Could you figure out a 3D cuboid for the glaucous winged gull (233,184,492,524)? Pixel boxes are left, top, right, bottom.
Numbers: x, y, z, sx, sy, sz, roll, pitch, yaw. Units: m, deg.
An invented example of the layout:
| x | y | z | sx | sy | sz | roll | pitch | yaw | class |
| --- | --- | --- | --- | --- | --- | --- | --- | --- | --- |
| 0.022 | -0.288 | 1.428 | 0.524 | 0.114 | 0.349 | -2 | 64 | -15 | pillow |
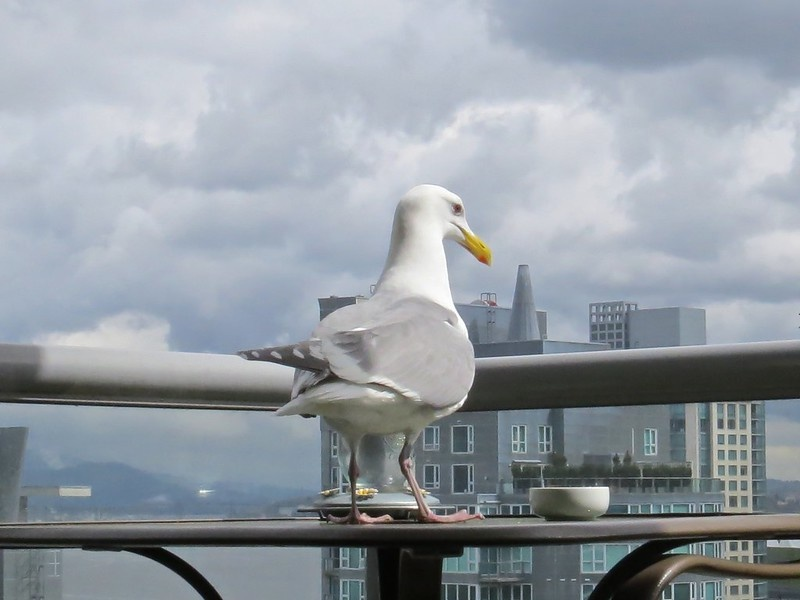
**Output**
| x | y | z | sx | sy | sz | roll | pitch | yaw | class |
| --- | --- | --- | --- | --- | --- | --- | --- | --- | --- |
| -0.193 | 1.239 | 41.185 | 4.346 | 7.536 | 1.626 | -4 | 12 | -12 | glaucous winged gull |
